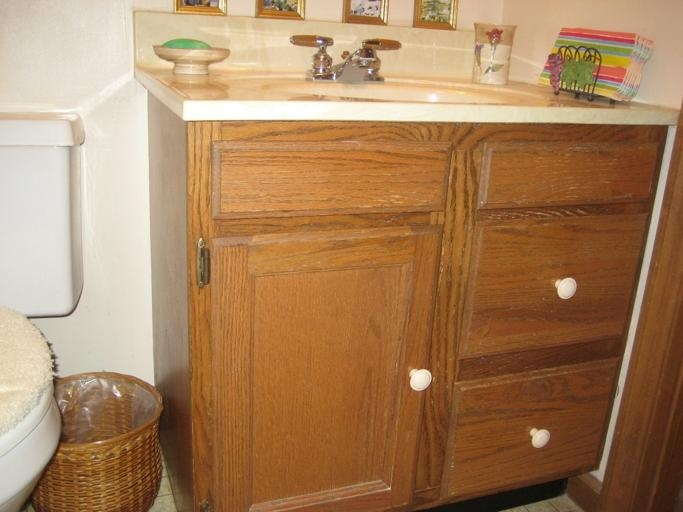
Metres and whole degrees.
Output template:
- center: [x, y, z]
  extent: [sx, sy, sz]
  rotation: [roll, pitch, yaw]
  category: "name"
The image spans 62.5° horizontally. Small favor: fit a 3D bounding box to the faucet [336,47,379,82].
- center: [0.043, -0.460, 1.369]
  extent: [0.110, 0.053, 0.097]
  rotation: [-2, 17, -4]
  category: "faucet"
